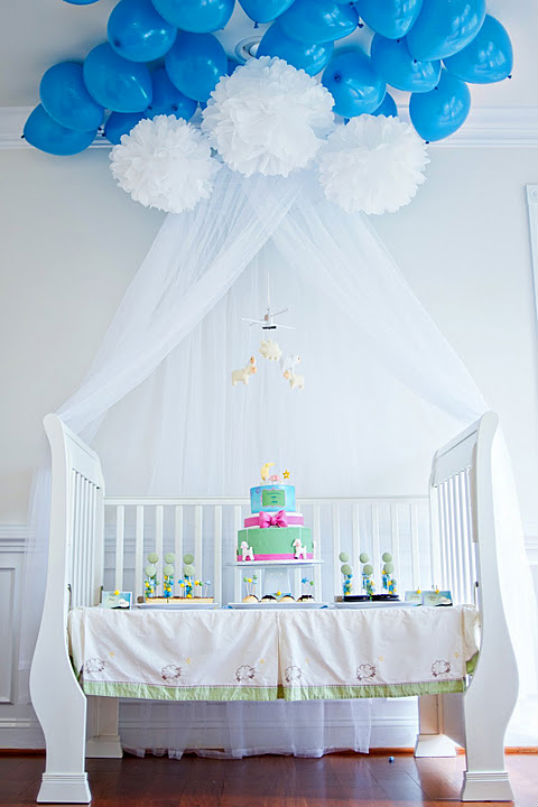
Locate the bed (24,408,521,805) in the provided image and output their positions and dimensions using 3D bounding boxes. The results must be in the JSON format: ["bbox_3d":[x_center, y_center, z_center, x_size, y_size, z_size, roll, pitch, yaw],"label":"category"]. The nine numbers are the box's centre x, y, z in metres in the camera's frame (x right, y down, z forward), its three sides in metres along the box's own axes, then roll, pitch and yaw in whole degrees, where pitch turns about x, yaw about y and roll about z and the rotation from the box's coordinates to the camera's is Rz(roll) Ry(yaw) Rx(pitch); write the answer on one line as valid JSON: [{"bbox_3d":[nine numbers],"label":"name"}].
[{"bbox_3d":[0.103,0.677,2.507,1.634,1.223,0.928,1,-8,-1],"label":"bed"}]
